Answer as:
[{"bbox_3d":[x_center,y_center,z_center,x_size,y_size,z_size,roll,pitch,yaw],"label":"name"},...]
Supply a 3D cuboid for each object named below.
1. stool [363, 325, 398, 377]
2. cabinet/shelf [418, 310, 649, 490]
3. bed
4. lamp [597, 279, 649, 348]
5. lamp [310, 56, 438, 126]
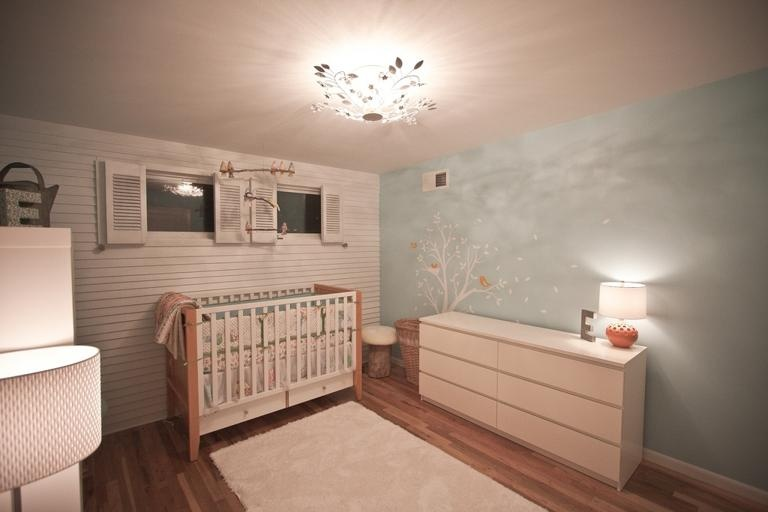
[{"bbox_3d":[-0.117,1.179,5.806,0.498,0.536,0.486,8,-7,-29],"label":"stool"},{"bbox_3d":[1.353,1.233,4.778,0.724,1.062,2.201,-9,12,-44],"label":"cabinet/shelf"},{"bbox_3d":[-1.263,1.002,5.070,1.972,1.367,1.296,-6,7,-42],"label":"bed"},{"bbox_3d":[2.077,0.509,4.163,0.369,0.568,0.407,3,3,31],"label":"lamp"},{"bbox_3d":[-0.048,-1.311,3.842,1.043,0.394,0.905,0,2,-13],"label":"lamp"}]
